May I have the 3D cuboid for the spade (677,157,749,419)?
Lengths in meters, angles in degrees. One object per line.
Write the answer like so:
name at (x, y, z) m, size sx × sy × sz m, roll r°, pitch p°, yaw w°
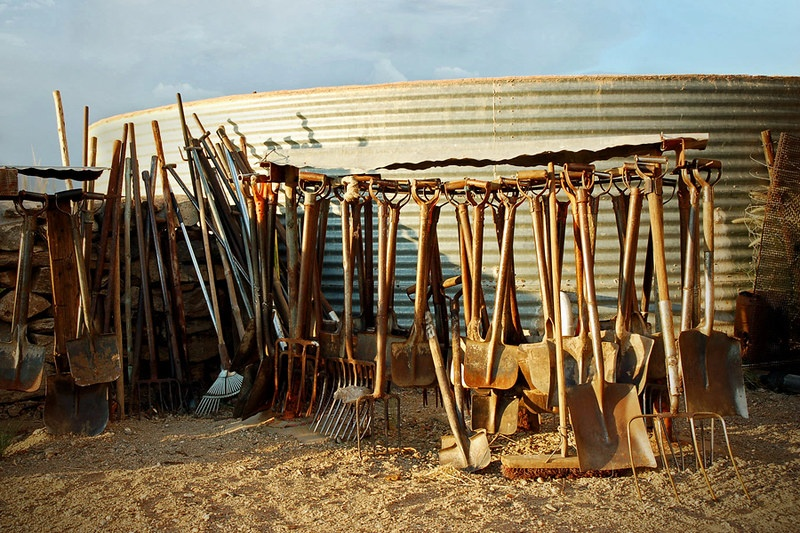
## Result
spade at (2.190, 0.210, 5.993) m, size 0.551 × 1.862 × 0.368 m, roll -5°, pitch 4°, yaw -27°

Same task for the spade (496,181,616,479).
spade at (1.135, 0.540, 5.975) m, size 0.838 × 1.864 × 0.693 m, roll -2°, pitch 9°, yaw 28°

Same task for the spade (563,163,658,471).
spade at (1.457, 0.379, 5.903) m, size 0.582 × 2.168 × 0.560 m, roll -2°, pitch 4°, yaw 12°

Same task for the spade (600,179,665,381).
spade at (1.717, 0.125, 6.270) m, size 0.494 × 1.610 × 0.366 m, roll 11°, pitch -15°, yaw -12°

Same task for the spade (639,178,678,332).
spade at (1.896, -0.095, 6.121) m, size 0.236 × 1.514 × 0.183 m, roll 1°, pitch -6°, yaw 1°

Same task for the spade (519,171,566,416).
spade at (1.059, 0.171, 6.214) m, size 0.272 × 1.790 × 0.460 m, roll -6°, pitch -6°, yaw 6°
